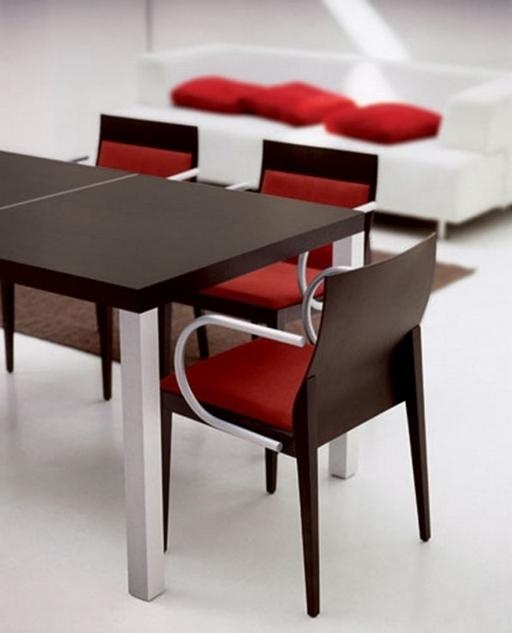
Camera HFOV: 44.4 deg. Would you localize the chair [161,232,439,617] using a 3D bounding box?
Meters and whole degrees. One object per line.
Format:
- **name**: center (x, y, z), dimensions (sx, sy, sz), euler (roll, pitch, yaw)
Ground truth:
- **chair**: center (0.129, 0.116, 1.196), dimensions (0.350, 0.629, 0.376), euler (-19, 30, -35)
